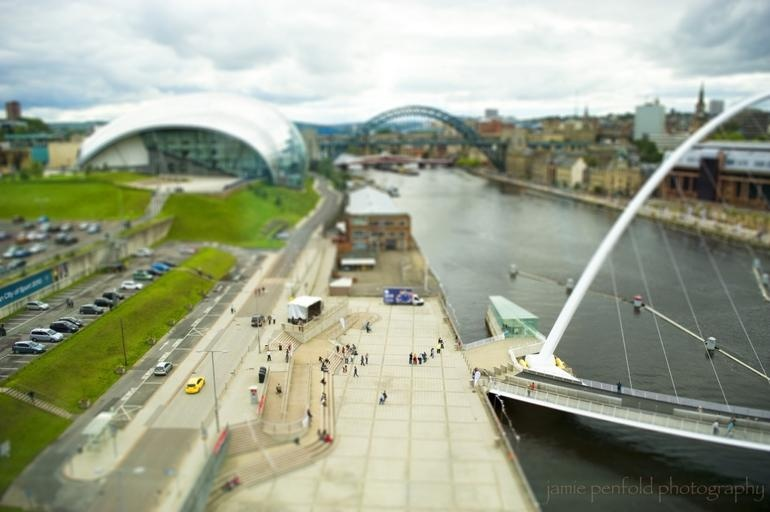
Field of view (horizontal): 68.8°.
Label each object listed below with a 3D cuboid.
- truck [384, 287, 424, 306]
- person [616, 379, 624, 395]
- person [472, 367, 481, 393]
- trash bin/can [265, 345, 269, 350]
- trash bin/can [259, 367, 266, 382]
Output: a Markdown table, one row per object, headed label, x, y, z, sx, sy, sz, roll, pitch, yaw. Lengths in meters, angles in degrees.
| label | x | y | z | sx | sy | sz | roll | pitch | yaw |
| --- | --- | --- | --- | --- | --- | --- | --- | --- | --- |
| truck | 1.264 | 2.632 | 37.661 | 2.984 | 1.451 | 1.071 | 0 | 3 | 1 |
| person | 11.456 | 6.340 | 27.243 | 0.343 | 0.903 | 0.595 | 6 | 14 | 20 |
| person | 4.589 | 6.104 | 27.798 | 0.289 | 0.172 | 1.033 | -16 | 46 | 36 |
| trash bin/can | -6.393 | 4.994 | 30.649 | 0.259 | 0.251 | 0.143 | -1 | -5 | -3 |
| trash bin/can | -6.037 | 5.872 | 27.769 | 0.532 | 0.521 | 0.300 | 4 | 24 | -6 |
